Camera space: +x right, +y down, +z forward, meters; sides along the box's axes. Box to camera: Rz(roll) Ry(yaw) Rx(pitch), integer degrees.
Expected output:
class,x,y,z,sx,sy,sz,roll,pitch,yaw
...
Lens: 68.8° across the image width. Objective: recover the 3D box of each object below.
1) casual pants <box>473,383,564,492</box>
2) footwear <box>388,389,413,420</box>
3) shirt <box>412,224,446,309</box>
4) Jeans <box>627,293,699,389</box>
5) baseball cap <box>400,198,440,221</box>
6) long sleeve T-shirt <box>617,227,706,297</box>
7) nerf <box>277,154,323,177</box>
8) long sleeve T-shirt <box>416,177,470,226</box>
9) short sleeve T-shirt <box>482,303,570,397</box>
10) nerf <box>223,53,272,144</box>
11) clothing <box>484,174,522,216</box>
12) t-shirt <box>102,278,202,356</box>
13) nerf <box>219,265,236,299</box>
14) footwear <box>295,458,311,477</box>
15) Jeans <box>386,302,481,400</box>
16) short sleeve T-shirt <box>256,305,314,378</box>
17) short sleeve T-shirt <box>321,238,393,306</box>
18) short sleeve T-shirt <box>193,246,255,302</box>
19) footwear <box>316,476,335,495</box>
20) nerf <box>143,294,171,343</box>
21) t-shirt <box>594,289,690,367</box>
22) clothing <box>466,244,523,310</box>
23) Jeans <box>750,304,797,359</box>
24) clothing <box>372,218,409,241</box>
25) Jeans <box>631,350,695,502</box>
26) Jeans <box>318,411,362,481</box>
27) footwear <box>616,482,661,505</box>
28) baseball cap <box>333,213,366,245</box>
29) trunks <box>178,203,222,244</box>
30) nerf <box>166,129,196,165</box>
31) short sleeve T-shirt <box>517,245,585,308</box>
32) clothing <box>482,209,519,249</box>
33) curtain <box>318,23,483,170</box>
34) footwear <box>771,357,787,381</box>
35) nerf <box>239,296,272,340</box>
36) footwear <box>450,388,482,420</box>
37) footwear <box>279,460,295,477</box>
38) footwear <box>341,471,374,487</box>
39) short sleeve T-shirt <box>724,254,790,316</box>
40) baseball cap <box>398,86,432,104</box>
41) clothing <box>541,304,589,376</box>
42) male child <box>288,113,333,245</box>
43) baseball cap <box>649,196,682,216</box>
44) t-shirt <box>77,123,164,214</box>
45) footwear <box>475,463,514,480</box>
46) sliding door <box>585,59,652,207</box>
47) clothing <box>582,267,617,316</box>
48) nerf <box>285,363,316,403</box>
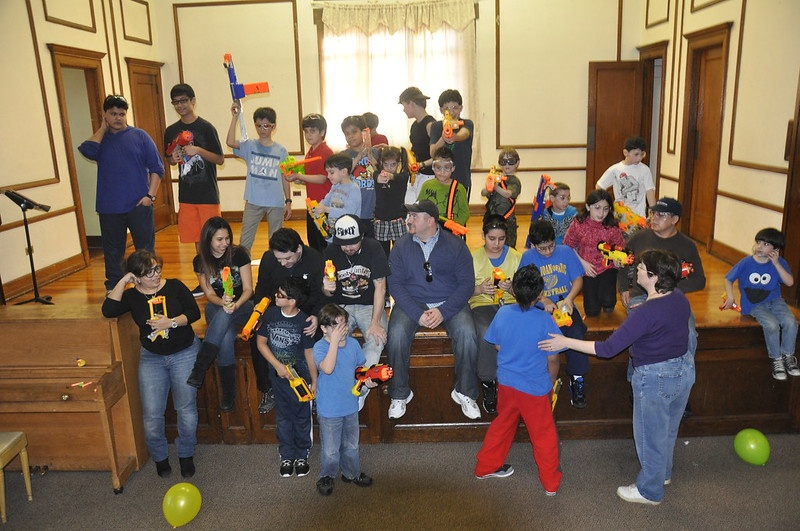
class,x,y,z,sx,sy,sz,roll,pitch,yaw
casual pants,0.991,1.315,4.824,0.710,1.036,0.325,6,26,19
footwear,-0.014,1.257,5.221,0.139,0.141,0.328,-17,23,37
shirt,0.258,0.041,5.330,0.343,0.618,0.145,-3,3,6
Jeans,2.320,0.726,5.048,0.647,0.916,0.357,4,-5,19
baseball cap,0.189,-0.505,5.066,0.240,0.119,0.158,17,6,-17
long sleeve T-shirt,2.449,-0.107,5.584,0.741,0.627,0.339,6,42,11
nerf,-1.089,-1.063,6.251,0.393,0.160,0.223,-4,7,8
long sleeve T-shirt,0.422,-0.628,6.006,0.566,0.551,0.287,7,18,10
short sleeve T-shirt,1.016,0.636,4.769,0.660,0.732,0.414,5,15,26
nerf,-1.649,-1.711,6.262,0.398,1.090,0.304,-11,2,-27
clothing,1.099,-0.740,6.263,0.369,0.516,0.181,-1,-17,29
t-shirt,-2.130,0.446,5.045,0.764,0.748,0.425,-11,15,-16
nerf,-1.514,0.137,5.117,0.106,0.285,0.245,-8,18,-18
footwear,-0.862,1.742,5.107,0.089,0.070,0.176,0,19,-6
Jeans,0.313,0.714,5.466,0.832,0.832,0.758,-1,4,3
short sleeve T-shirt,-0.948,0.617,4.864,0.560,0.629,0.236,-4,8,7
short sleeve T-shirt,-0.393,0.105,5.305,0.686,0.676,0.337,-4,7,6
short sleeve T-shirt,-1.589,0.063,5.383,0.407,0.532,0.198,3,2,-16
footwear,-0.624,1.830,4.884,0.097,0.072,0.178,1,-1,-1
nerf,-2.063,0.449,4.950,0.197,0.386,0.127,-9,18,-19
t-shirt,1.927,0.484,4.580,0.754,0.397,0.475,-32,35,-16
clothing,0.832,0.109,5.149,0.526,0.529,0.299,-3,7,1
Jeans,3.369,0.529,5.235,0.298,0.534,0.186,-16,-23,27
clothing,-0.109,-0.375,6.092,0.368,0.267,0.217,-1,8,1
Jeans,2.097,1.282,4.659,0.451,1.181,0.255,-3,17,0
Jeans,-0.488,1.465,4.870,0.358,0.774,0.221,-5,14,-14
footwear,1.940,1.868,4.770,0.314,0.138,0.131,7,11,15
baseball cap,-0.443,-0.310,5.036,0.203,0.157,0.273,3,42,6
trunks,-2.084,-0.448,6.072,0.440,0.603,0.236,3,6,-1
nerf,-2.378,-1.265,6.355,0.181,0.404,0.199,15,36,-46
short sleeve T-shirt,1.290,0.093,5.052,0.560,0.514,0.204,-2,1,1
clothing,1.120,-0.354,6.505,0.338,0.380,0.363,-6,8,-2
curtain,0.005,-2.678,8.684,3.010,2.891,0.395,-2,8,3
footwear,3.376,0.922,5.207,0.087,0.112,0.268,-5,3,19
nerf,-1.232,0.442,4.990,0.076,0.372,0.132,23,-10,21
footwear,0.565,1.230,5.183,0.333,0.145,0.167,42,8,25
footwear,-0.989,1.768,5.110,0.088,0.073,0.169,0,1,-3
footwear,-0.377,1.810,5.009,0.241,0.114,0.106,0,11,2
short sleeve T-shirt,3.301,0.192,5.374,0.495,0.490,0.278,-3,14,26
baseball cap,0.151,-1.872,6.526,0.323,0.147,0.232,-2,13,8
clothing,1.507,0.718,5.249,0.206,0.804,0.262,-3,-1,-2
male child,-0.971,-0.928,6.433,0.456,1.451,0.432,1,-14,-25
baseball cap,2.446,-0.522,5.387,0.221,0.130,0.164,19,8,-2
t-shirt,-2.850,-0.994,6.081,0.667,0.832,0.303,-11,18,-26
footwear,0.800,1.755,4.996,0.314,0.134,0.125,-5,8,-3
sliding door,3.642,-2.226,10.016,0.857,2.491,0.165,2,1,7
clothing,1.903,0.261,5.590,0.271,0.489,0.162,5,5,16
nerf,-0.839,0.963,4.859,0.083,0.326,0.171,-34,-3,39
